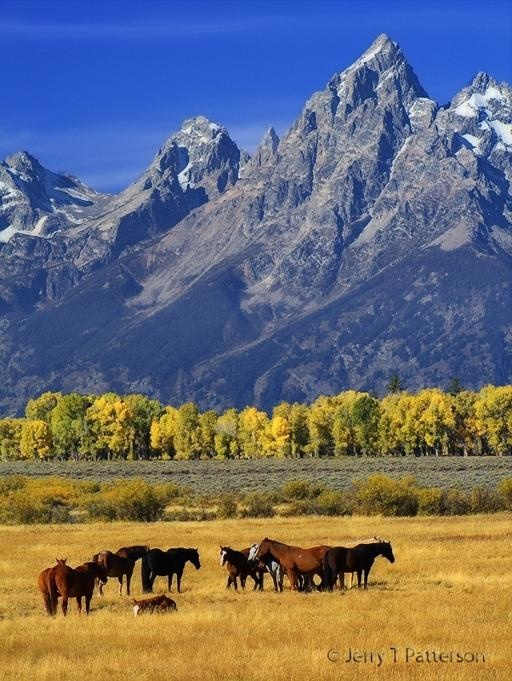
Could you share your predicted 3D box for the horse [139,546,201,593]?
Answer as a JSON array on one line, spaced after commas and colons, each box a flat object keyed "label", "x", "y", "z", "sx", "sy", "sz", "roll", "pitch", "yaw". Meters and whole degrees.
[{"label": "horse", "x": -5.146, "y": 13.413, "z": 95.287, "sx": 3.302, "sy": 2.406, "sz": 3.048, "roll": -1, "pitch": -1, "yaw": -23}]

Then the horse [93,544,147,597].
[{"label": "horse", "x": -8.107, "y": 13.887, "z": 95.558, "sx": 2.019, "sy": 3.432, "sz": 2.446, "roll": -4, "pitch": -2, "yaw": -15}]
